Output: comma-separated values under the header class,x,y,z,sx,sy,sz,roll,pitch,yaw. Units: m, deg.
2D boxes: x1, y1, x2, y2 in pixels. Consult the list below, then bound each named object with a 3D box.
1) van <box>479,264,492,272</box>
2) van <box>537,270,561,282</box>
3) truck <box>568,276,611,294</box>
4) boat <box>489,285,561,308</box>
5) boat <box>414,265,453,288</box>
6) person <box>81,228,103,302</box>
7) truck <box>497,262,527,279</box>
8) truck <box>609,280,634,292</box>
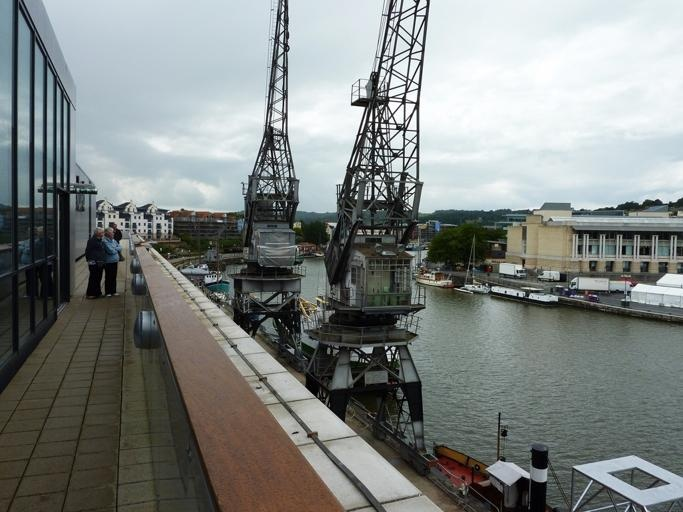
class,x,y,z,sx,sy,sz,roll,pitch,yaw
van,21.045,1.771,72.049,1.365,0.989,1.926,-3,0,19
van,25.873,2.478,61.141,1.287,1.055,2.179,0,3,-38
truck,27.676,3.076,54.034,4.748,2.046,1.694,0,5,7
boat,19.211,4.123,51.844,1.769,1.679,7.358,-1,3,-27
boat,12.474,3.095,66.991,2.769,2.465,7.017,-1,1,-18
person,-6.842,0.215,13.747,0.474,1.977,1.006,-2,6,-27
truck,23.005,1.907,65.260,1.563,1.801,3.825,-2,1,-19
truck,29.710,3.305,53.133,2.844,1.290,1.079,-1,8,13
